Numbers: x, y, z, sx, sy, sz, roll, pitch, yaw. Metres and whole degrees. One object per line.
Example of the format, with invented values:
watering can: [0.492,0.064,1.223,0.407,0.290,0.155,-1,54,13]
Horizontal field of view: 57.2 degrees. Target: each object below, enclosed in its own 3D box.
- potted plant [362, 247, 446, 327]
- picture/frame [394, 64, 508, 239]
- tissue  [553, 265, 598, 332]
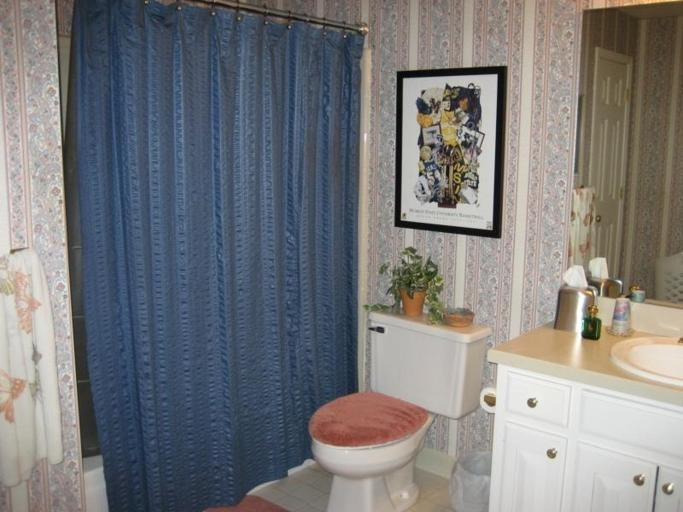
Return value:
potted plant: [0.382,0.120,3.318,0.345,0.278,0.373,3,8,17]
picture/frame: [0.568,-0.544,3.127,0.722,1.093,0.040,7,9,40]
tissue : [1.062,0.208,2.849,0.129,0.303,0.140,-1,11,-32]
